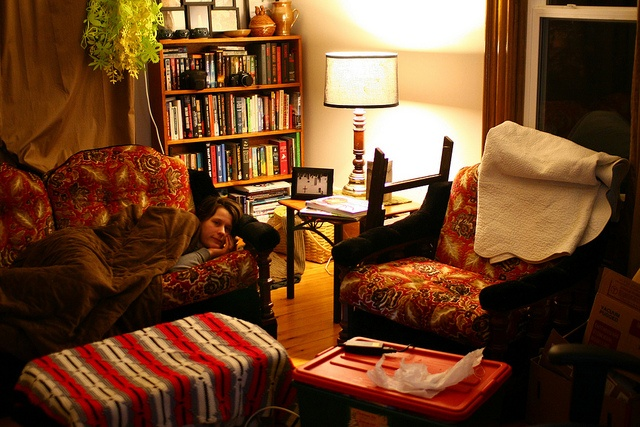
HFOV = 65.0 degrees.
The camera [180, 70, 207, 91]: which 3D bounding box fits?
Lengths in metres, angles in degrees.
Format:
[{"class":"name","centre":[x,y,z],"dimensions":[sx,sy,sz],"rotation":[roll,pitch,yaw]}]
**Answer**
[{"class":"camera","centre":[-1.112,-1.140,4.430],"dimensions":[0.242,0.176,0.163],"rotation":[-7,12,-39]}]

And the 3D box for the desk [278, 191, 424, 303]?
[{"class":"desk","centre":[0.247,0.220,3.673],"dimensions":[0.796,0.728,0.821],"rotation":[7,10,42]}]

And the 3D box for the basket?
[{"class":"basket","centre":[-0.136,0.165,4.272],"dimensions":[0.545,0.372,0.423],"rotation":[-5,14,-38]}]

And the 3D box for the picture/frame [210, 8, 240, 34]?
[{"class":"picture/frame","centre":[-0.891,-1.779,4.613],"dimensions":[0.275,0.216,0.018],"rotation":[-7,11,-36]}]

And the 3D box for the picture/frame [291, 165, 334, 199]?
[{"class":"picture/frame","centre":[-0.062,-0.230,3.746],"dimensions":[0.309,0.248,0.025],"rotation":[2,7,10]}]

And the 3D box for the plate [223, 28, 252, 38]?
[{"class":"plate","centre":[-0.764,-1.656,4.613],"dimensions":[0.255,0.076,0.150],"rotation":[-3,15,-11]}]

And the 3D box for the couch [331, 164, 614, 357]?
[{"class":"couch","centre":[0.746,0.273,2.794],"dimensions":[1.034,0.874,0.971],"rotation":[-9,17,-29]}]

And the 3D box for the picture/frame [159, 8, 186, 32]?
[{"class":"picture/frame","centre":[-1.286,-1.718,4.423],"dimensions":[0.201,0.187,0.024],"rotation":[-11,18,-33]}]

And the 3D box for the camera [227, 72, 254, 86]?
[{"class":"camera","centre":[-0.725,-1.225,4.599],"dimensions":[0.186,0.109,0.134],"rotation":[-8,17,-38]}]

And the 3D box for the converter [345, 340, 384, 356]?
[{"class":"converter","centre":[0.187,0.576,2.192],"dimensions":[0.128,0.029,0.070],"rotation":[3,6,7]}]
